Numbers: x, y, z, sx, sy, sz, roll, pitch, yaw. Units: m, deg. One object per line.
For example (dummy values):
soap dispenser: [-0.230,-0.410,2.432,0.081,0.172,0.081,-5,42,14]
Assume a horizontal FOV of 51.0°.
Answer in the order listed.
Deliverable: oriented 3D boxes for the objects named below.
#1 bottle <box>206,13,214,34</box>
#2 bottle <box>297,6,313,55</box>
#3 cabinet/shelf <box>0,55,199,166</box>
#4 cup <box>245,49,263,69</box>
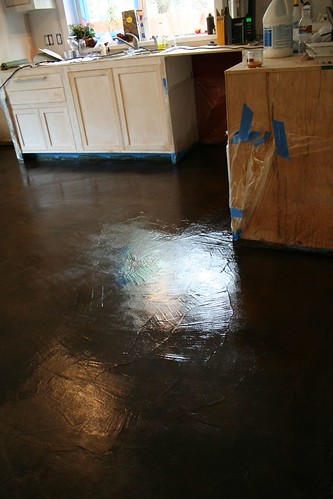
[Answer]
bottle: [0.403,-2.017,3.130,0.078,0.162,0.090,-12,23,-5]
bottle: [0.718,-1.159,1.819,0.059,0.245,0.432,-1,26,22]
cabinet/shelf: [-0.686,-1.390,3.531,1.811,1.035,0.499,1,26,24]
cup: [0.377,-0.814,1.492,0.082,0.080,0.084,-5,29,3]
